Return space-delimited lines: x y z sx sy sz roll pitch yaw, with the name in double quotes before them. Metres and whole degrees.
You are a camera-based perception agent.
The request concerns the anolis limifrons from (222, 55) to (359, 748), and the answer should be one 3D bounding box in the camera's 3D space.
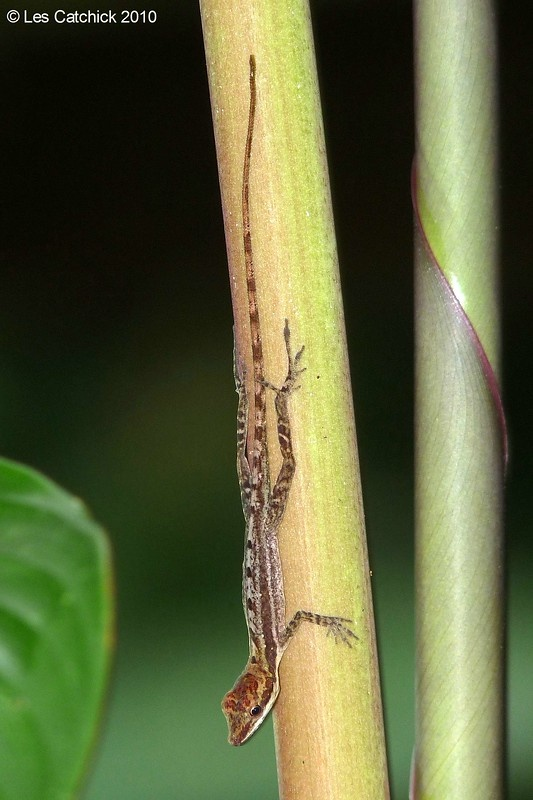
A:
"anolis limifrons" 0.017 0.042 1.633 0.093 1.103 0.316 3 -10 -15
